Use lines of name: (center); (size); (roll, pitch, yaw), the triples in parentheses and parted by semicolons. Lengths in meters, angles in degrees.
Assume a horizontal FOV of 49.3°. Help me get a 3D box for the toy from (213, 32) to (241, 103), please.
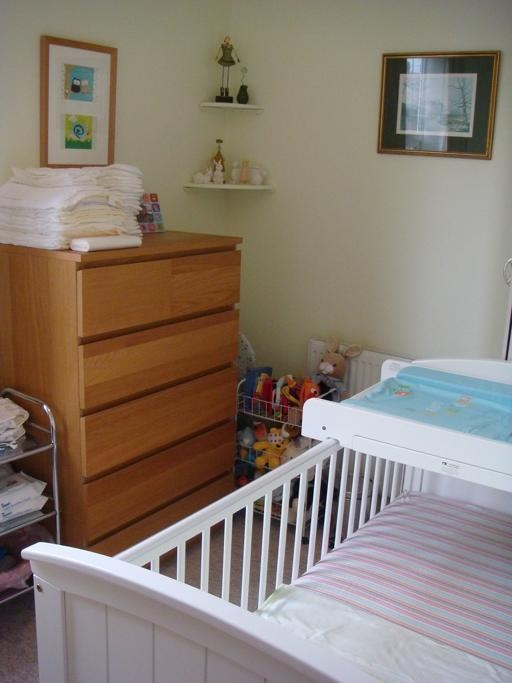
toy: (-0.140, -1.320, 2.722); (0.109, 0.367, 0.253); (1, 5, -2)

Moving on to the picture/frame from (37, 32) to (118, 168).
picture/frame: (-0.683, -0.908, 2.132); (0.087, 0.497, 0.345); (5, 6, 32)

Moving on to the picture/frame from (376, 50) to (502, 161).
picture/frame: (0.773, -0.993, 2.308); (0.511, 0.415, 0.019); (14, 25, 32)
